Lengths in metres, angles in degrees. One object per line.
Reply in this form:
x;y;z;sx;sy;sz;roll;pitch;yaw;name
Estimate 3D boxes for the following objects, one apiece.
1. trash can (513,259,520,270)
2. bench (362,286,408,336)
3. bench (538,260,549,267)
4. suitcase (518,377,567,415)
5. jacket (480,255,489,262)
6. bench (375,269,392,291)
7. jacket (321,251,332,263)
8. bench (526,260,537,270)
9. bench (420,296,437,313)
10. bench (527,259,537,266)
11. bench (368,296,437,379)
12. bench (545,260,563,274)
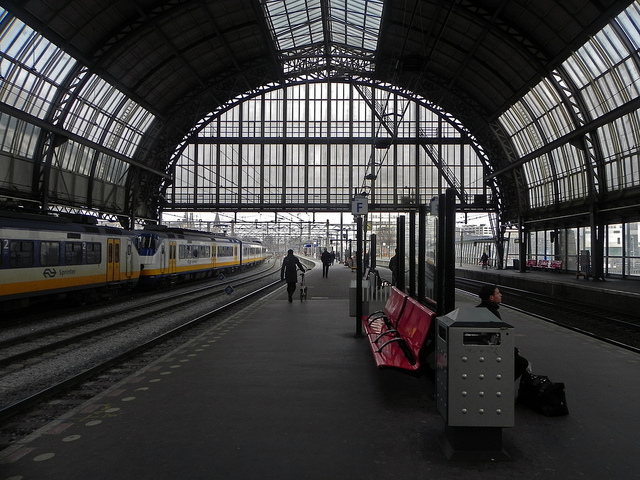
17.521;2.233;40.366;0.371;0.865;1.037;-1;-1;12;trash can
1.473;1.735;10.587;0.643;1.030;1.671;2;-5;-2;bench
17.823;1.920;35.873;0.132;0.528;0.499;11;-4;-28;bench
3.537;2.539;7.234;0.400;0.619;0.866;18;-14;-16;suitcase
15.057;1.718;41.108;0.269;0.454;0.872;13;-7;-41;jacket
2.421;1.520;16.954;0.619;1.188;0.631;-1;-1;4;bench
0.509;1.092;33.046;0.578;1.270;0.986;6;-11;-18;jacket
17.938;2.125;37.990;0.158;0.711;0.701;14;4;-24;bench
2.225;1.302;9.164;0.253;0.104;0.417;5;5;-12;bench
17.852;1.959;37.875;0.122;0.480;0.465;15;-9;-35;bench
1.468;1.718;8.185;0.874;1.061;1.971;-1;-1;2;bench
17.752;2.254;33.928;0.499;0.916;1.183;-1;-2;-13;bench
